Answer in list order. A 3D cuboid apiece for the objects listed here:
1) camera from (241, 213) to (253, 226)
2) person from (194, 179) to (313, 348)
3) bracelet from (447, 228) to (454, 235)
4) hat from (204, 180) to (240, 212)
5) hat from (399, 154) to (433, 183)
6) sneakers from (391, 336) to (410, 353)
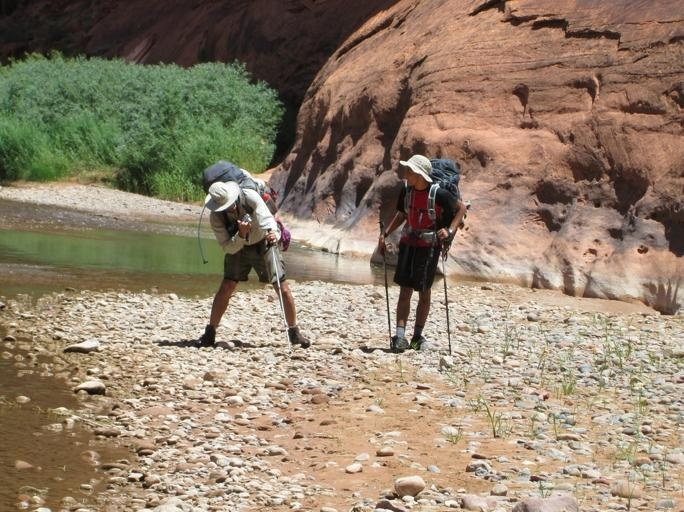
[{"bbox_3d":[-1.148,-0.449,10.651,0.092,0.042,0.132,14,31,-20],"label":"camera"},{"bbox_3d":[-1.218,0.118,10.909,1.264,1.695,0.626,4,2,-34],"label":"person"},{"bbox_3d":[1.261,-0.309,10.839,0.096,0.090,0.256,-2,-3,9],"label":"bracelet"},{"bbox_3d":[-1.421,-0.720,10.535,0.389,0.310,0.325,4,2,-2],"label":"hat"},{"bbox_3d":[0.861,-1.113,10.957,0.381,0.172,0.375,24,6,-11],"label":"hat"},{"bbox_3d":[0.673,1.114,11.092,0.251,0.195,0.162,-3,-13,9],"label":"sneakers"}]
